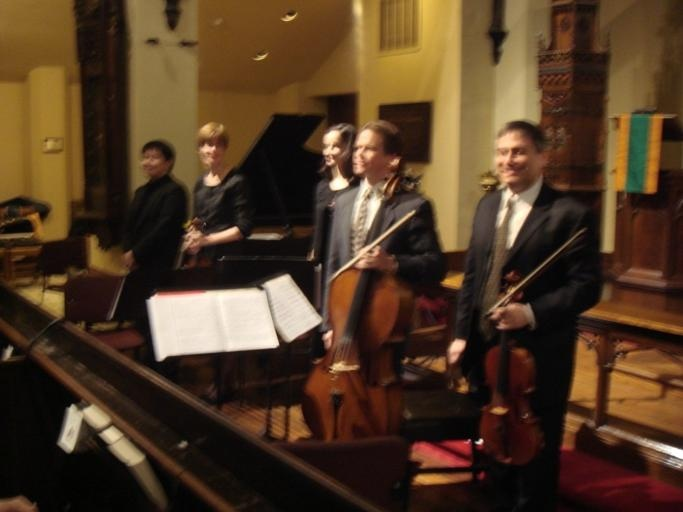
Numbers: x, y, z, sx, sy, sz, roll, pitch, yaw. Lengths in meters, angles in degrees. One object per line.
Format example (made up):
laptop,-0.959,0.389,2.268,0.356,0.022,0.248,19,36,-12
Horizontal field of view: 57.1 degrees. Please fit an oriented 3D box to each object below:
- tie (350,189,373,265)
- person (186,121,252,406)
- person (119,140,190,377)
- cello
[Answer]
tie,0.051,-0.078,1.701,0.043,0.171,0.054,4,8,-21
person,-0.441,0.026,2.255,0.276,0.970,0.245,0,10,-28
person,-0.815,-0.004,2.554,0.226,0.924,0.516,-6,8,-37
cello,0.017,0.180,1.827,0.252,0.630,0.281,7,9,-2
